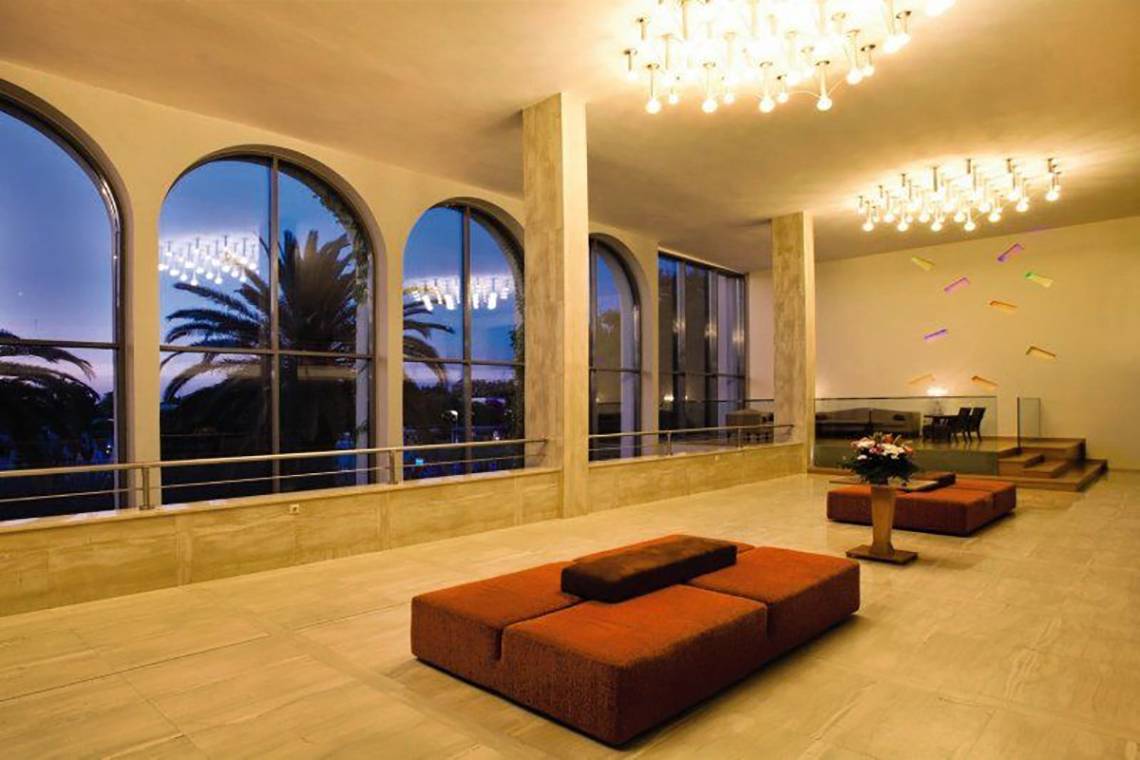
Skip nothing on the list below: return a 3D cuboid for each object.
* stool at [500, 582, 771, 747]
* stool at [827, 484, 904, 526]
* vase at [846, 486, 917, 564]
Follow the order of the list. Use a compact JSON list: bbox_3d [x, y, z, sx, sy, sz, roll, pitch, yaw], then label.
[{"bbox_3d":[0.520,2.176,5.421,1.969,0.680,0.969,-5,10,-29],"label":"stool"},{"bbox_3d":[4.275,1.859,10.299,0.753,0.484,1.039,-2,-5,32],"label":"stool"},{"bbox_3d":[3.976,1.740,8.703,0.954,1.097,0.965,-1,-1,24],"label":"vase"}]
